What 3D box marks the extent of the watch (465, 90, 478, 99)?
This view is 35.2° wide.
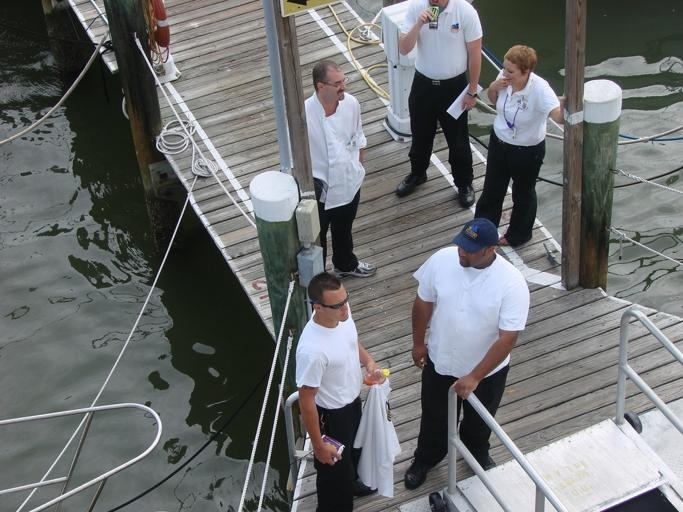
[{"bbox_3d":[1.240,-1.564,10.289,0.092,0.066,0.101,4,1,9],"label":"watch"}]

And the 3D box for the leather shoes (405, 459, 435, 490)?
[{"bbox_3d":[0.642,1.757,9.012,0.139,0.136,0.335,25,67,18],"label":"leather shoes"}]

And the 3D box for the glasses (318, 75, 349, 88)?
[{"bbox_3d":[-0.078,-1.515,9.435,0.194,0.118,0.066,-14,28,-11],"label":"glasses"}]

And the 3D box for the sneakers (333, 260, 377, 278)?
[{"bbox_3d":[0.139,0.136,10.481,0.435,0.190,0.160,-5,49,-2],"label":"sneakers"}]

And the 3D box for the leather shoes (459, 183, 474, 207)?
[{"bbox_3d":[1.257,-0.610,10.969,0.098,0.308,0.121,-12,-15,12],"label":"leather shoes"}]

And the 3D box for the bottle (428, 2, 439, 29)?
[{"bbox_3d":[0.862,-2.249,10.108,0.094,0.222,0.080,7,32,28],"label":"bottle"}]

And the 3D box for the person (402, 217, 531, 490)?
[{"bbox_3d":[0.984,0.817,8.649,1.070,2.138,0.744,-5,28,8],"label":"person"}]

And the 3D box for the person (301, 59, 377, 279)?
[{"bbox_3d":[-0.015,-0.747,9.947,0.574,2.189,0.410,-12,28,-6],"label":"person"}]

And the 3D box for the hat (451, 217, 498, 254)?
[{"bbox_3d":[1.053,-0.202,8.420,0.383,0.199,0.279,-19,44,-32],"label":"hat"}]

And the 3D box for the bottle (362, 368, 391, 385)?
[{"bbox_3d":[0.271,0.933,8.493,0.178,0.061,0.142,-29,9,24],"label":"bottle"}]
